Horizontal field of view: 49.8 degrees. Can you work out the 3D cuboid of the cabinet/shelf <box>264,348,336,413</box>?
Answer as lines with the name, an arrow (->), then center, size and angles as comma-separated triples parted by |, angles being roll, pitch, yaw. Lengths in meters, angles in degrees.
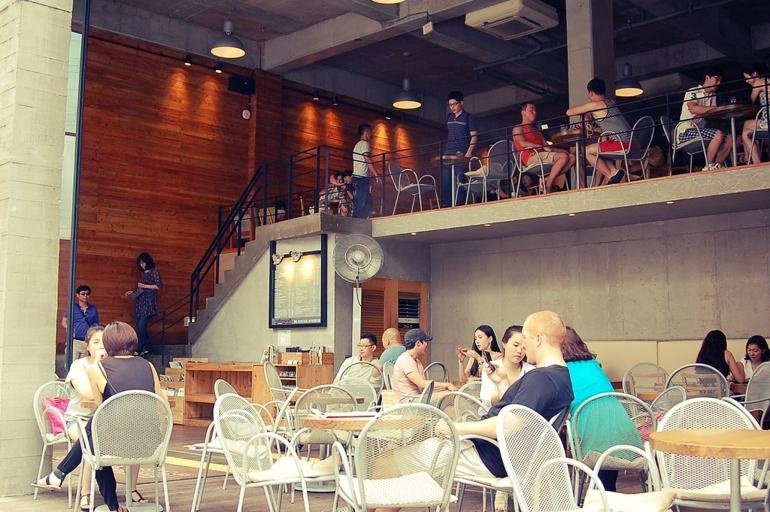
cabinet/shelf -> -1.480, 1.908, 12.998 | 1.000, 0.901, 0.400 | -1, -11, 8

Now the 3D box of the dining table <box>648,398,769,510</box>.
dining table -> 2.528, 1.633, 6.753 | 0.948, 1.246, 0.889 | -4, -15, 16

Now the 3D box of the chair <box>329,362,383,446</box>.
chair -> -0.292, 1.556, 9.672 | 0.541, 0.957, 0.617 | 2, 0, -14

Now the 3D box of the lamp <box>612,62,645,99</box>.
lamp -> 4.419, -3.267, 15.016 | 0.660, 0.501, 0.662 | -2, 3, 13

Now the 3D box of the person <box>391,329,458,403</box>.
person -> 0.470, 1.311, 9.055 | 0.788, 1.084, 0.500 | -1, 4, 7

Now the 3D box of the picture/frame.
picture/frame -> -1.390, 0.480, 13.675 | 0.176, 1.663, 1.461 | 4, -7, -43

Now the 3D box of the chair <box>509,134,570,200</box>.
chair -> 2.444, -1.328, 12.649 | 0.948, 1.144, 0.757 | -5, -9, 27

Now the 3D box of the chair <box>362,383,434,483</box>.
chair -> 0.000, 1.391, 6.569 | 0.609, 0.828, 0.607 | 0, 2, -30

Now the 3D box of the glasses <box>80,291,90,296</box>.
glasses -> -4.757, 0.591, 13.111 | 0.077, 0.022, 0.076 | 11, -33, -45

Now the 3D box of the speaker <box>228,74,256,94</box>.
speaker -> -2.914, -3.483, 16.835 | 0.639, 0.340, 0.422 | 4, 18, -24

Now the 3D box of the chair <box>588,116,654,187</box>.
chair -> 3.408, -1.420, 11.984 | 0.882, 0.810, 1.569 | -3, -9, 14

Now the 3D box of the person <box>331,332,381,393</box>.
person -> -0.279, 1.395, 10.021 | 0.545, 0.841, 0.539 | 8, 5, 3

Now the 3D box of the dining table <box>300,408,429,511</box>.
dining table -> -0.200, 1.721, 6.786 | 0.973, 0.710, 0.972 | -1, -2, 4

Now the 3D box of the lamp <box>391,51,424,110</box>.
lamp -> 0.453, -3.528, 16.299 | 0.606, 1.016, 0.588 | -10, 30, -19

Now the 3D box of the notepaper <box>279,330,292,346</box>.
notepaper -> -1.650, 1.373, 13.840 | 0.262, 0.260, 0.026 | -2, -5, 38

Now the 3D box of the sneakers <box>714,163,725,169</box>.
sneakers -> 4.461, -1.195, 11.026 | 0.105, 0.122, 0.123 | 1, 5, 0

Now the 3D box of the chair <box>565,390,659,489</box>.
chair -> 1.945, 1.557, 7.071 | 0.740, 1.168, 0.799 | 3, 15, 22

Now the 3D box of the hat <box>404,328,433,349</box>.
hat -> 0.384, 0.934, 9.318 | 0.274, 0.141, 0.198 | -9, 1, -27

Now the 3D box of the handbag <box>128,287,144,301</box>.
handbag -> -4.568, 0.691, 15.066 | 0.255, 0.215, 0.427 | 4, -10, -33

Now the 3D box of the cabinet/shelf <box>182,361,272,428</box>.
cabinet/shelf -> -2.527, 2.205, 13.137 | 1.292, 0.943, 0.473 | -4, -10, 24

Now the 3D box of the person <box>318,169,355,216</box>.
person -> -0.798, -1.101, 14.714 | 0.372, 0.824, 0.902 | 4, -10, -32

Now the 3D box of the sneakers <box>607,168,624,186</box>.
sneakers -> 3.358, -1.151, 12.061 | 0.130, 0.331, 0.100 | 21, 22, -51
